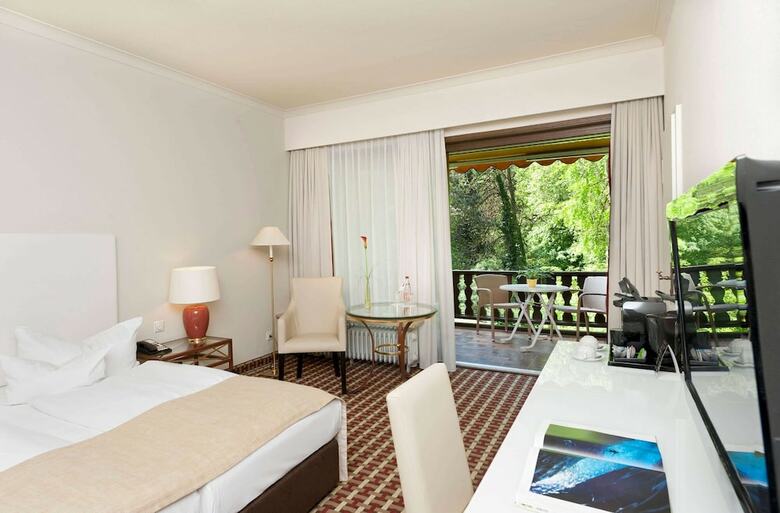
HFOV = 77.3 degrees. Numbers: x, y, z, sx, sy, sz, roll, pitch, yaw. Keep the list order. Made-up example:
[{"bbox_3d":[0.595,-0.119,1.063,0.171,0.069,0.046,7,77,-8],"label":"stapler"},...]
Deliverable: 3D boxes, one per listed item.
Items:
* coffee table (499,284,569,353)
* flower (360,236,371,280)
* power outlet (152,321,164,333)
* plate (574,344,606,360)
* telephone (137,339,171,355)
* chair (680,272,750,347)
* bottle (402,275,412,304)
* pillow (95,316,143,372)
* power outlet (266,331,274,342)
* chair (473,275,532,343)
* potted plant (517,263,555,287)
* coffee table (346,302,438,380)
[{"bbox_3d":[2.155,0.818,7.086,0.944,0.851,0.967,0,-1,-36],"label":"coffee table"},{"bbox_3d":[-0.289,0.010,5.800,0.125,0.534,0.232,-1,2,-8],"label":"flower"},{"bbox_3d":[-2.271,0.691,4.763,0.013,0.097,0.096,2,28,29],"label":"power outlet"},{"bbox_3d":[1.288,0.607,3.119,0.146,0.053,0.143,-5,1,-28],"label":"plate"},{"bbox_3d":[-2.165,0.842,4.455,0.166,0.063,0.170,5,-1,8],"label":"telephone"},{"bbox_3d":[1.300,0.213,1.942,0.242,0.303,0.259,-3,-7,13],"label":"chair"},{"bbox_3d":[0.185,0.376,5.501,0.100,0.305,0.313,-1,2,1],"label":"bottle"},{"bbox_3d":[-2.281,0.740,4.072,0.344,0.385,0.202,12,4,14],"label":"pillow"},{"bbox_3d":[-1.468,0.974,5.918,0.037,0.107,0.150,-2,-2,24],"label":"power outlet"},{"bbox_3d":[1.655,0.752,7.469,0.845,1.216,0.862,0,-1,-26],"label":"chair"},{"bbox_3d":[2.425,0.285,8.073,0.474,0.346,0.485,-2,0,32],"label":"potted plant"},{"bbox_3d":[0.004,0.804,5.308,0.822,0.609,0.866,0,2,42],"label":"coffee table"}]
